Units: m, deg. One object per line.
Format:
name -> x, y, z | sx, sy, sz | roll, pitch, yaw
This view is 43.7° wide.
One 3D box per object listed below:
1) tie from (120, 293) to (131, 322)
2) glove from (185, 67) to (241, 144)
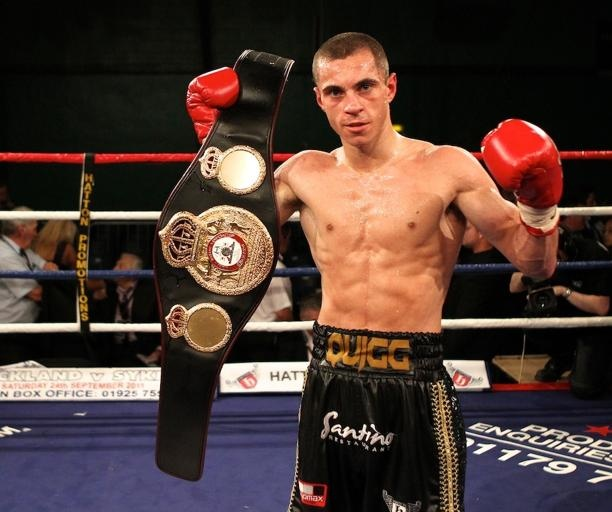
tie -> -1.205, 0.360, 5.087 | 0.037, 0.147, 0.103 | 7, -11, -36
glove -> -0.387, -0.632, 3.116 | 0.149, 0.304, 0.228 | 10, -29, -41
